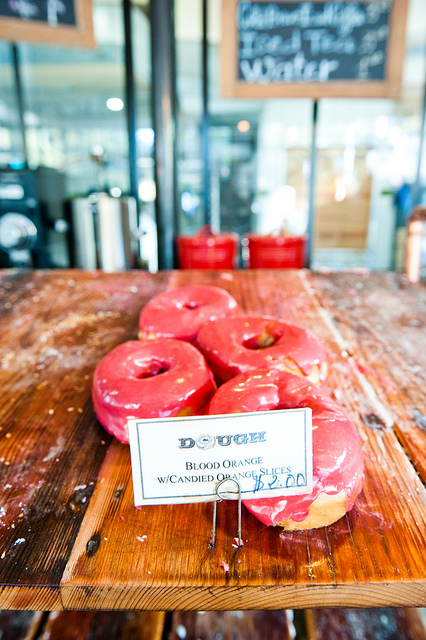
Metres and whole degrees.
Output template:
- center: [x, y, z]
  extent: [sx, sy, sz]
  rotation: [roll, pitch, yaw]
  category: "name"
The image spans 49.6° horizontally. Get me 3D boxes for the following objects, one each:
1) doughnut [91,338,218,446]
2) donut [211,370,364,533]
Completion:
- center: [-0.094, 0.108, 0.739]
  extent: [0.208, 0.089, 0.236]
  rotation: [-6, 22, -3]
  category: "doughnut"
- center: [0.094, 0.152, 0.590]
  extent: [0.170, 0.091, 0.225]
  rotation: [-8, 32, -13]
  category: "donut"
